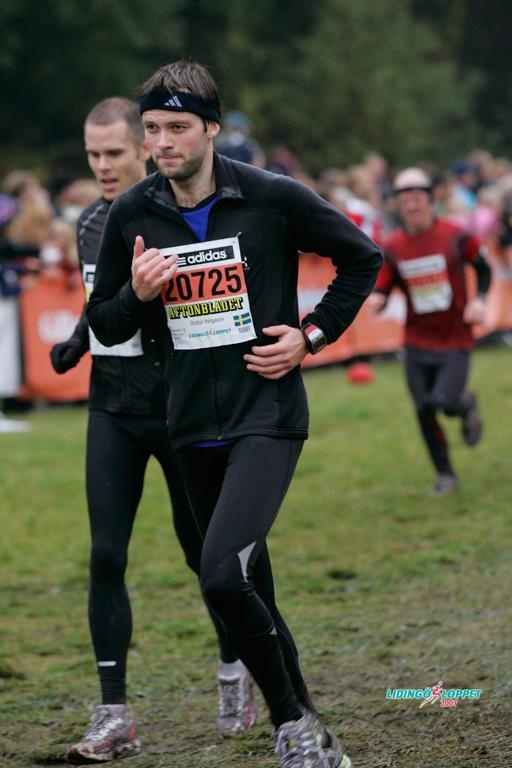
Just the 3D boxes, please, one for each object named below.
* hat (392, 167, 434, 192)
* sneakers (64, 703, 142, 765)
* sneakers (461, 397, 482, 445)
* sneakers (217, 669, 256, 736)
[{"bbox_3d":[0.893,-1.139,4.984,0.205,0.110,0.191,-6,-18,20],"label":"hat"},{"bbox_3d":[-0.437,1.069,2.715,0.099,0.127,0.263,-8,-4,30],"label":"sneakers"},{"bbox_3d":[0.894,0.170,3.645,0.086,0.171,0.280,-6,1,13],"label":"sneakers"},{"bbox_3d":[-0.061,1.076,2.993,0.089,0.152,0.242,-11,12,15],"label":"sneakers"}]
